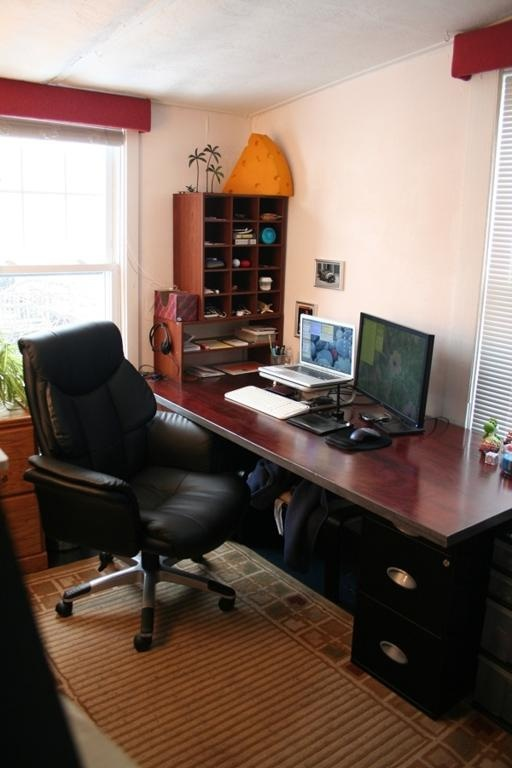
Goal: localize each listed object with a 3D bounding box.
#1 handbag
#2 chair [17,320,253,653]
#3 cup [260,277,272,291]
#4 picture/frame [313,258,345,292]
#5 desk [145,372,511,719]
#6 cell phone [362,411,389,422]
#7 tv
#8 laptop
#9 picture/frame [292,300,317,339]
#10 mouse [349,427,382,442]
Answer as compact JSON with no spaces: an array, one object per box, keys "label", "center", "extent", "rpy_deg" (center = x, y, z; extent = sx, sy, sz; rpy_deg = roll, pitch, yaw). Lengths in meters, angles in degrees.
[{"label":"handbag","center":[0.093,0.501,2.612],"extent":[0.112,0.332,0.310],"rpy_deg":[-6,38,-37]},{"label":"chair","center":[-0.456,0.364,2.399],"extent":[0.762,1.135,0.768],"rpy_deg":[7,17,19]},{"label":"cup","center":[0.051,-0.586,3.483],"extent":[0.073,0.089,0.099],"rpy_deg":[-1,18,-12]},{"label":"picture/frame","center":[0.387,-0.584,3.117],"extent":[0.039,0.155,0.239],"rpy_deg":[-5,14,-23]},{"label":"desk","center":[0.364,0.576,2.234],"extent":[0.613,0.741,1.206],"rpy_deg":[-9,16,-37]},{"label":"cell phone","center":[0.514,0.143,2.527],"extent":[0.048,0.018,0.072],"rpy_deg":[-5,12,-16]},{"label":"tv","center":[0.576,-0.030,2.483],"extent":[0.147,0.448,0.522],"rpy_deg":[-7,18,-18]},{"label":"laptop","center":[0.235,-0.164,2.812],"extent":[0.317,0.300,0.439],"rpy_deg":[-11,17,-37]},{"label":"picture/frame","center":[0.264,-0.357,3.188],"extent":[0.024,0.239,0.210],"rpy_deg":[-4,17,-27]},{"label":"mouse","center":[0.406,0.183,2.224],"extent":[0.089,0.030,0.054],"rpy_deg":[-7,21,-24]}]
